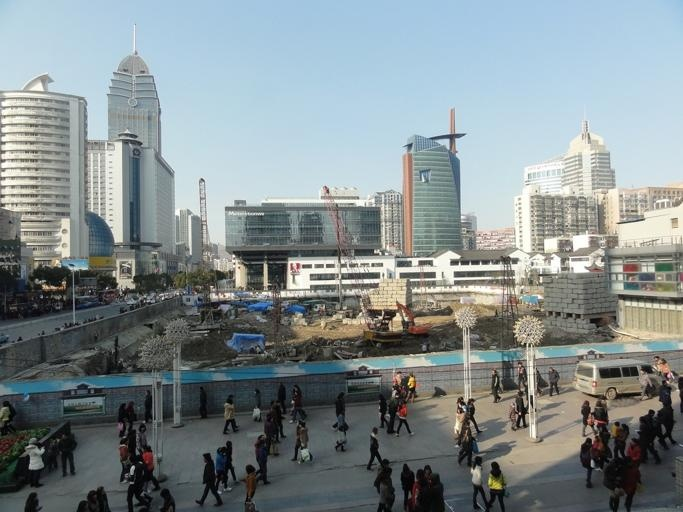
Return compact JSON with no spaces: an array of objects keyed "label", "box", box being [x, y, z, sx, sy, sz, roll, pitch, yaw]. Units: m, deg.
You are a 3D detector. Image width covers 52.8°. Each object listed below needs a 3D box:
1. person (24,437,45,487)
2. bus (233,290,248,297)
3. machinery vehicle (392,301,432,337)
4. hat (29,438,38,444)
[{"label":"person","box":[-17.775,12.016,40.130,0.970,2.733,1.105,-1,-2,-24]},{"label":"bus","box":[-18.280,7.216,127.989,2.645,0.795,9.041,-2,-1,-9]},{"label":"machinery vehicle","box":[7.708,6.833,75.348,1.525,3.288,4.584,-2,4,-40]},{"label":"hat","box":[-17.844,10.804,40.148,0.415,0.132,0.375,-11,1,14]}]
